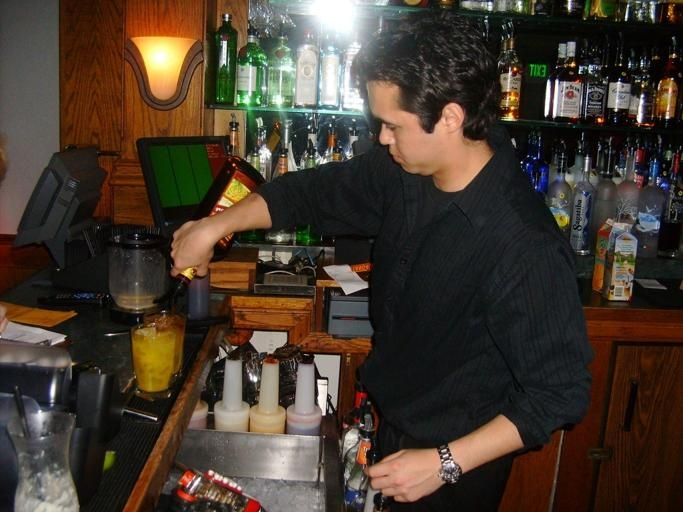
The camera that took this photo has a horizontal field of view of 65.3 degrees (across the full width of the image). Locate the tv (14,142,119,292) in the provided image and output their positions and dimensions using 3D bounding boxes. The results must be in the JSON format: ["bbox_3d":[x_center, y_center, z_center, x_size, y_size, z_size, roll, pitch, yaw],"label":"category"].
[{"bbox_3d":[-1.021,-0.164,2.136,0.353,0.485,0.425,-1,12,-14],"label":"tv"}]

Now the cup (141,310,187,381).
[{"bbox_3d":[-0.467,0.239,1.398,0.119,0.189,0.120,7,20,-3],"label":"cup"}]

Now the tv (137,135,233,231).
[{"bbox_3d":[-0.614,-0.300,2.115,0.040,0.301,0.385,-13,23,29],"label":"tv"}]

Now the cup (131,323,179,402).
[{"bbox_3d":[-0.495,0.278,1.410,0.121,0.180,0.121,3,9,0],"label":"cup"}]

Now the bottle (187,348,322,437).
[{"bbox_3d":[-0.285,0.438,1.668,0.265,0.216,0.096,2,3,-4],"label":"bottle"}]

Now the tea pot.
[{"bbox_3d":[-0.691,0.052,1.803,0.178,0.232,0.225,0,8,-25],"label":"tea pot"}]

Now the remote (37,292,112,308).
[{"bbox_3d":[-0.941,0.151,1.885,0.178,0.031,0.091,-2,7,-4],"label":"remote"}]

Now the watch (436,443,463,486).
[{"bbox_3d":[0.261,0.523,1.328,0.051,0.086,0.081,-12,4,-1],"label":"watch"}]
